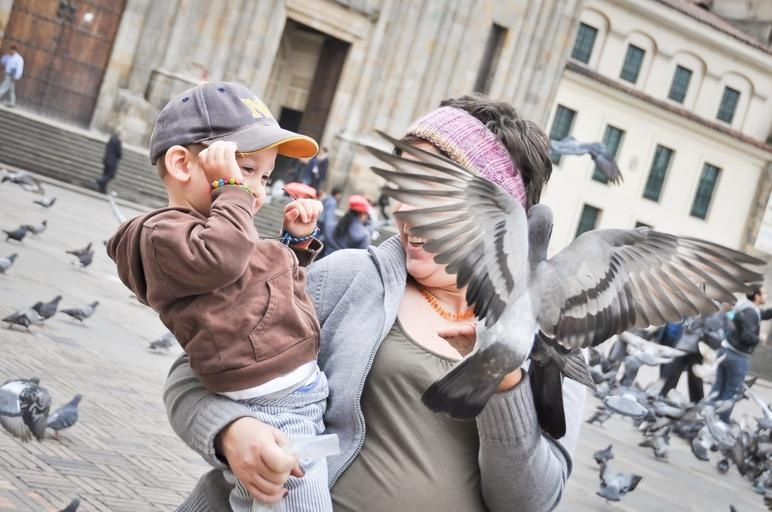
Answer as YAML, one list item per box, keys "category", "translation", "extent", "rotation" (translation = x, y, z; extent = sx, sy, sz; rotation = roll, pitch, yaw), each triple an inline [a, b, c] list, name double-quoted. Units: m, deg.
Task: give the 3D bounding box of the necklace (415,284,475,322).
- category: "necklace"
  translation: [1.285, 0.894, 22.334]
  extent: [0.626, 0.543, 0.219]
  rotation: [10, -41, 1]

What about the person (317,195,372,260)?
- category: "person"
  translation: [-0.874, -0.513, 30.672]
  extent: [1.197, 2.039, 0.844]
  rotation: [2, -21, 3]

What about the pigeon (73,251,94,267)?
- category: "pigeon"
  translation: [-6.726, 0.069, 28.043]
  extent: [0.330, 0.331, 0.611]
  rotation: [17, 4, -9]
